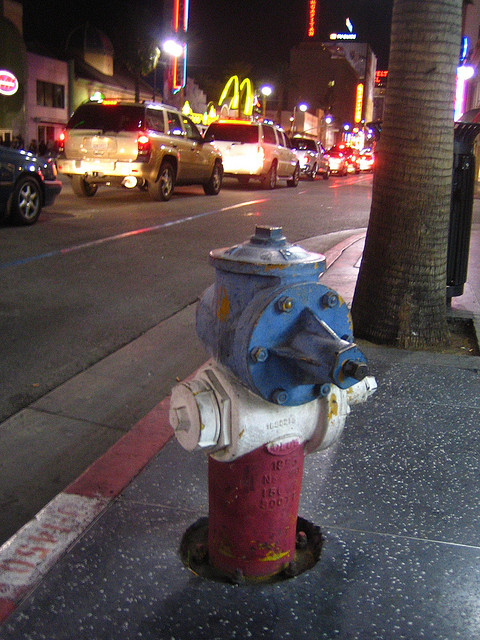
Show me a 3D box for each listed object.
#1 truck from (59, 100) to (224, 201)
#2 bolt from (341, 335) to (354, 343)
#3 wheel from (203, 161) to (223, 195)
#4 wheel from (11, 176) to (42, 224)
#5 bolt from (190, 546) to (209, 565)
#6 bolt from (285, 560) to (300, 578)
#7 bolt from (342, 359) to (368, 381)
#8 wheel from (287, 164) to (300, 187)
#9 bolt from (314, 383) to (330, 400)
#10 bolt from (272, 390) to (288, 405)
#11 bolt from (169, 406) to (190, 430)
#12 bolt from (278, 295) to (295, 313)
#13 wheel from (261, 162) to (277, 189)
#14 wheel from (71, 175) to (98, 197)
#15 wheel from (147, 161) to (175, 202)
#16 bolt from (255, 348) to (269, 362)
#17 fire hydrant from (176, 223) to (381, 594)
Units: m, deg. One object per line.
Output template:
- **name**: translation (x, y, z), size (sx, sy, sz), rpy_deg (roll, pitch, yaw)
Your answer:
- **truck**: translation (-2.527, -4.574, 14.785), size (2.352, 2.413, 4.720), rpy_deg (8, 19, 21)
- **bolt**: translation (0.312, 0.054, 1.446), size (0.017, 0.027, 0.025), rpy_deg (21, 21, 34)
- **wheel**: translation (-0.923, -4.599, 16.374), size (0.334, 1.245, 1.067), rpy_deg (2, 2, 24)
- **wheel**: translation (-4.204, -2.314, 9.758), size (0.225, 0.895, 0.803), rpy_deg (9, 23, 13)
- **bolt**: translation (-0.153, 0.854, 1.833), size (0.047, 0.059, 0.053), rpy_deg (1, 4, 11)
- **bolt**: translation (0.173, 0.830, 1.702), size (0.042, 0.061, 0.047), rpy_deg (0, -3, -10)
- **bolt**: translation (0.259, 0.112, 1.139), size (0.043, 0.043, 0.064), rpy_deg (28, -5, 1)
- **wheel**: translation (2.318, -6.282, 22.031), size (0.355, 0.973, 0.759), rpy_deg (6, 9, 32)
- **bolt**: translation (0.231, 0.201, 1.458), size (0.040, 0.053, 0.056), rpy_deg (12, -3, -10)
- **bolt**: translation (0.105, 0.206, 1.349), size (0.030, 0.037, 0.017), rpy_deg (-5, 16, -38)
- **bolt**: translation (-0.176, 0.285, 1.472), size (0.034, 0.063, 0.065), rpy_deg (-1, 10, -34)
- **bolt**: translation (0.121, -0.039, 1.297), size (0.018, 0.045, 0.059), rpy_deg (7, 11, 40)
- **wheel**: translation (1.092, -5.555, 19.601), size (0.432, 0.989, 1.111), rpy_deg (4, 9, 20)
- **wheel**: translation (-4.496, -3.740, 14.257), size (0.499, 0.559, 0.787), rpy_deg (3, 9, 12)
- **wheel**: translation (-2.213, -3.799, 13.930), size (0.494, 1.136, 1.005), rpy_deg (3, 8, 13)
- **bolt**: translation (0.053, 0.089, 1.274), size (0.023, 0.038, 0.013), rpy_deg (1, 10, -22)
- **fire hydrant**: translation (0.077, 0.317, 1.541), size (0.562, 1.183, 0.678), rpy_deg (2, 8, 11)
